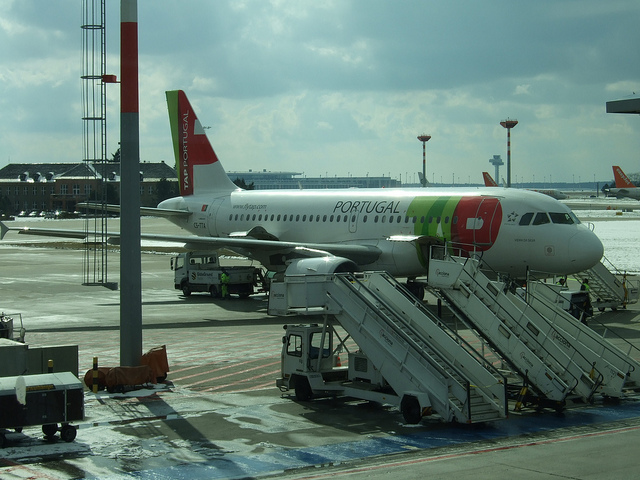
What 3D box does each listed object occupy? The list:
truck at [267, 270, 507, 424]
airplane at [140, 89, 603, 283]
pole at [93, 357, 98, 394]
[{"bbox_3d":[2.011,3.415,31.678,7.408,4.290,2.443,3,7,35],"label":"truck"},{"bbox_3d":[1.954,-0.674,50.165,18.203,7.710,15.029,3,5,44],"label":"airplane"},{"bbox_3d":[-7.603,4.589,33.053,0.156,1.304,0.483,-3,6,-15],"label":"pole"}]
